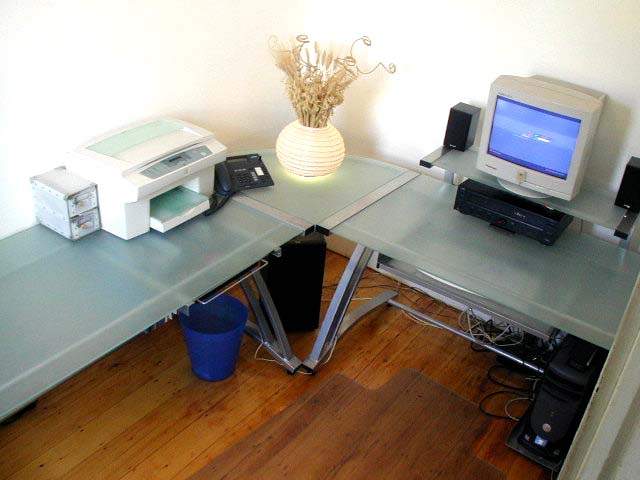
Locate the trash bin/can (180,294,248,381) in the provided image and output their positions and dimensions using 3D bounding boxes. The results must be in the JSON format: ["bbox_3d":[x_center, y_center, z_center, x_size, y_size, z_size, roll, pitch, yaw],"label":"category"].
[{"bbox_3d":[-0.577,0.525,2.516,0.344,0.519,0.325,-3,33,-31],"label":"trash bin/can"}]

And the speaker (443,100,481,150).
[{"bbox_3d":[0.792,-0.612,2.590,0.165,0.241,0.163,17,35,20],"label":"speaker"}]

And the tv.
[{"bbox_3d":[1.104,-0.539,2.283,0.341,0.515,0.515,-36,51,-27],"label":"tv"}]

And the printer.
[{"bbox_3d":[-0.804,-0.309,2.212,0.481,0.345,0.603,22,36,15],"label":"printer"}]
